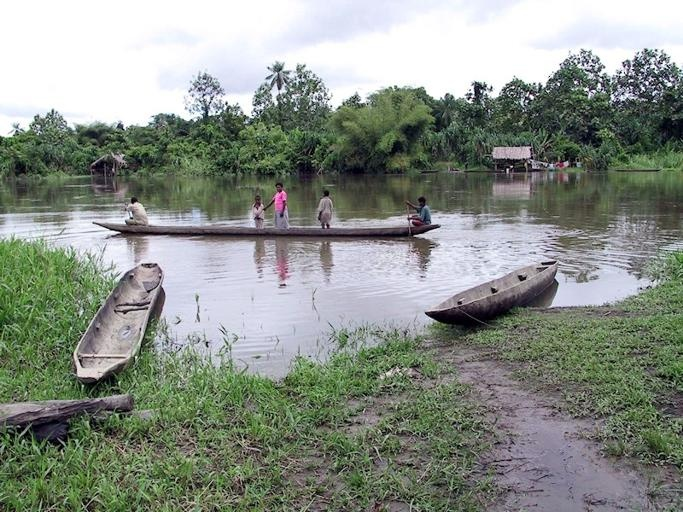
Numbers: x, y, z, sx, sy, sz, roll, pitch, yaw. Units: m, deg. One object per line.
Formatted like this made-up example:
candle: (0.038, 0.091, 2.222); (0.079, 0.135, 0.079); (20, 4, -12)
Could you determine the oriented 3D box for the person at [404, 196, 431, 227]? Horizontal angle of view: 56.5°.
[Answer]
person: (2.139, -1.239, 17.434); (0.468, 0.780, 1.592); (-2, 3, 2)
